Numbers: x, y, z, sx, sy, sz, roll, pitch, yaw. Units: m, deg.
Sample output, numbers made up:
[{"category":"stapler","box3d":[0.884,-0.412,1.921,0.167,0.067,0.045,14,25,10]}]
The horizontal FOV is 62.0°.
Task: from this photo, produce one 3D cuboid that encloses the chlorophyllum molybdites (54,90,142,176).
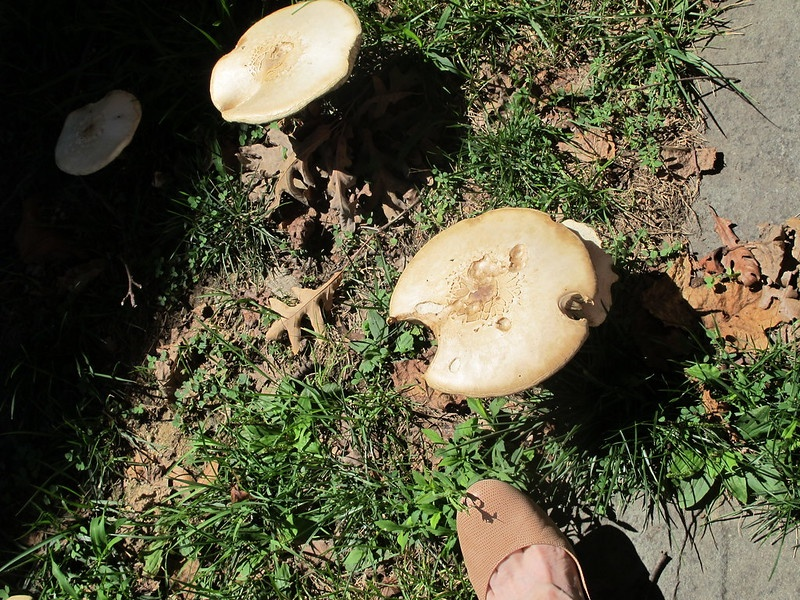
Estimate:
[{"category":"chlorophyllum molybdites","box3d":[-2.228,-1.205,4.874,0.703,0.275,0.509,-10,51,18]}]
